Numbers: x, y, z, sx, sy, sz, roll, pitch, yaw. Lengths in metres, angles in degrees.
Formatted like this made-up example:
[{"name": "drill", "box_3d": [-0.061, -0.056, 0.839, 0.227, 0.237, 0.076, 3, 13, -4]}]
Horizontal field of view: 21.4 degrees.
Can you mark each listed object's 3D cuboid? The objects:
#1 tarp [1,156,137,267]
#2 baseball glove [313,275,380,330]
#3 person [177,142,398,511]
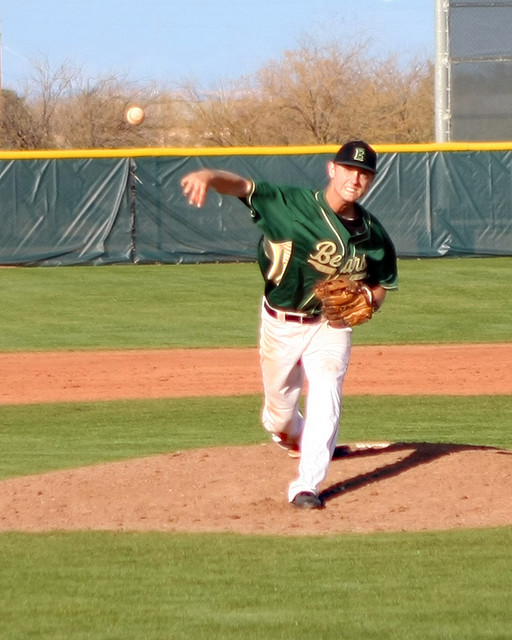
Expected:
[{"name": "tarp", "box_3d": [-2.374, -1.358, 16.845, 1.911, 1.297, 0.369, -13, 21, -34]}, {"name": "baseball glove", "box_3d": [0.434, -0.100, 6.610, 0.268, 0.274, 0.221, -2, 10, -16]}, {"name": "person", "box_3d": [0.244, 0.009, 6.562, 0.631, 1.717, 0.904, 4, 12, 24]}]
